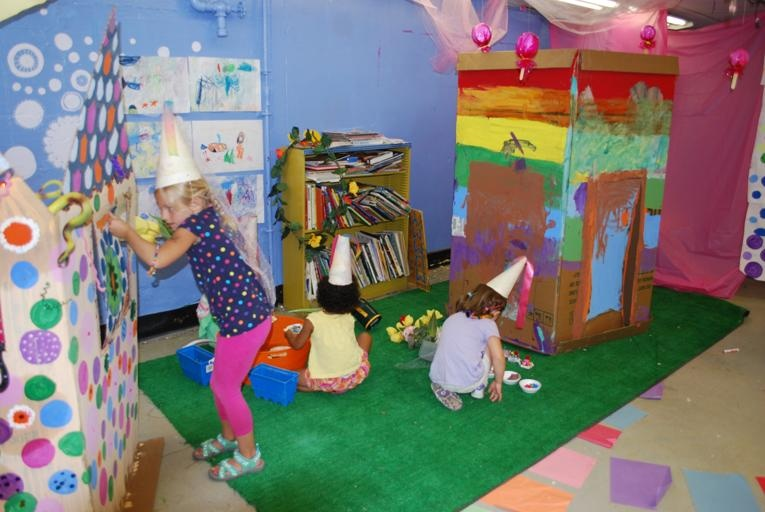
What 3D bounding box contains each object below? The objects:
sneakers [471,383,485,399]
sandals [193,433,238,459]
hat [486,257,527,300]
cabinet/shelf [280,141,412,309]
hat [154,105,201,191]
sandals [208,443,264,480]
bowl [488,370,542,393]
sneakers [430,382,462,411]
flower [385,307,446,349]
[{"bbox_3d":[0.722,1.002,3.992,0.076,0.125,0.128,8,12,35],"label":"sneakers"},{"bbox_3d":[-1.062,1.222,3.360,0.302,0.130,0.130,-5,15,-34],"label":"sandals"},{"bbox_3d":[1.007,0.178,4.221,0.271,0.246,0.234,-45,26,-18],"label":"hat"},{"bbox_3d":[-0.389,-0.319,5.099,0.494,1.743,1.472,11,16,43],"label":"cabinet/shelf"},{"bbox_3d":[-1.117,-0.590,2.871,0.213,0.436,0.212,2,15,15],"label":"hat"},{"bbox_3d":[-0.892,1.276,3.261,0.319,0.139,0.151,-1,9,-24],"label":"sandals"},{"bbox_3d":[1.095,0.978,4.112,0.248,0.061,0.170,5,17,0],"label":"bowl"},{"bbox_3d":[0.481,1.034,3.892,0.210,0.078,0.132,41,2,30],"label":"sneakers"},{"bbox_3d":[0.290,0.666,4.800,0.361,0.175,0.364,-2,25,5],"label":"flower"}]
